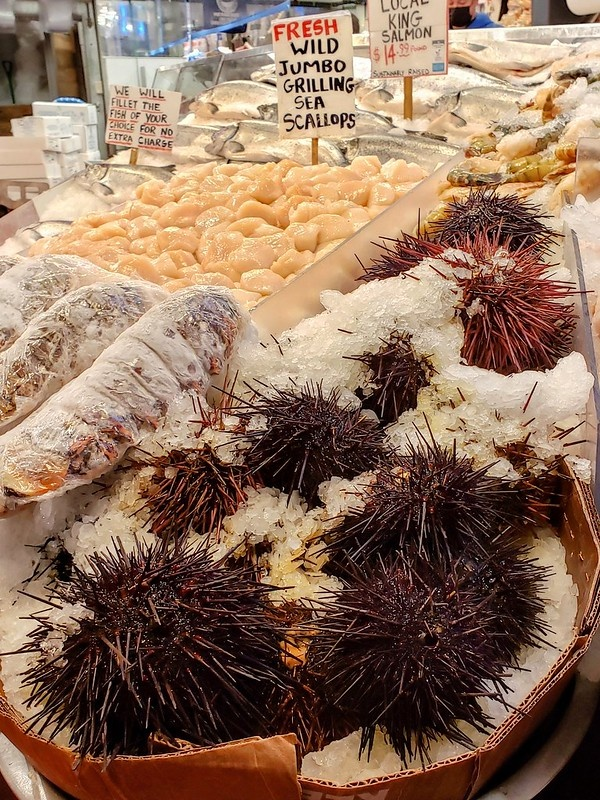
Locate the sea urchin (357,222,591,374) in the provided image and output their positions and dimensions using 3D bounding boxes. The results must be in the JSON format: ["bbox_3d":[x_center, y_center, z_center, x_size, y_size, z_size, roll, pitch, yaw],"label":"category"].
[{"bbox_3d":[0.343,-0.118,0.990,0.238,0.146,0.229,-12,-6,27],"label":"sea urchin"}]

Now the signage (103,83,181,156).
[{"bbox_3d":[-0.644,-1.115,2.466,0.319,0.227,0.008,18,26,20],"label":"signage"}]

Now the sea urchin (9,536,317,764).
[{"bbox_3d":[-0.101,0.227,0.609,0.256,0.171,0.229,5,19,6],"label":"sea urchin"}]

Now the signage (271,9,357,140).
[{"bbox_3d":[0.042,-1.004,1.920,0.240,0.356,0.152,-4,19,0],"label":"signage"}]
